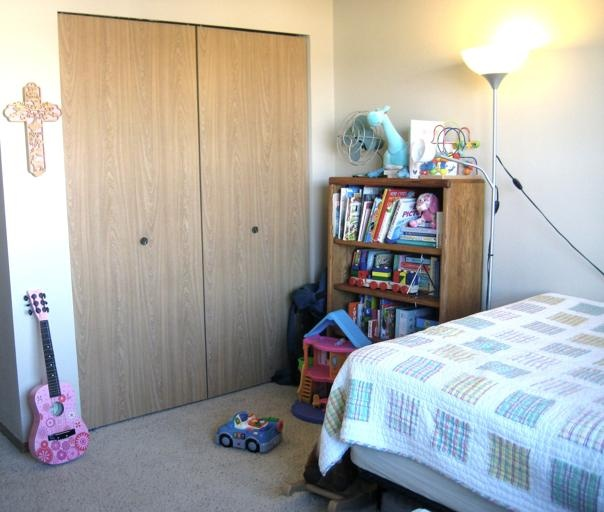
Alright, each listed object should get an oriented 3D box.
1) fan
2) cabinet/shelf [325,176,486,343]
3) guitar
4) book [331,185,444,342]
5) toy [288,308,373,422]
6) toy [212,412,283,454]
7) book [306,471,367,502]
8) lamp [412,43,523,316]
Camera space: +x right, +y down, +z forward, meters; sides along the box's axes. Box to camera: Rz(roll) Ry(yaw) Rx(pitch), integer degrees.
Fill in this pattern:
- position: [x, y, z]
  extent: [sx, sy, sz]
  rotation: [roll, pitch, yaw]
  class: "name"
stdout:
- position: [0.378, -0.696, 3.151]
  extent: [0.294, 0.474, 0.322]
  rotation: [5, 10, 2]
  class: "fan"
- position: [0.718, -0.015, 2.767]
  extent: [0.241, 0.867, 0.557]
  rotation: [-8, 14, -23]
  class: "cabinet/shelf"
- position: [-1.252, 0.594, 2.454]
  extent: [0.257, 0.825, 0.273]
  rotation: [-7, 12, -33]
  class: "guitar"
- position: [0.502, 0.022, 2.788]
  extent: [0.277, 1.033, 0.765]
  rotation: [-3, 5, -36]
  class: "book"
- position: [0.156, 0.588, 2.806]
  extent: [0.430, 0.545, 0.413]
  rotation: [20, -20, -35]
  class: "toy"
- position: [-0.274, 0.894, 2.569]
  extent: [0.266, 0.156, 0.176]
  rotation: [5, 7, 23]
  class: "toy"
- position: [0.164, 0.953, 1.988]
  extent: [0.175, 0.054, 0.129]
  rotation: [-1, 4, -43]
  class: "book"
- position: [0.899, -0.407, 2.582]
  extent: [0.457, 1.403, 0.344]
  rotation: [7, 12, 35]
  class: "lamp"
